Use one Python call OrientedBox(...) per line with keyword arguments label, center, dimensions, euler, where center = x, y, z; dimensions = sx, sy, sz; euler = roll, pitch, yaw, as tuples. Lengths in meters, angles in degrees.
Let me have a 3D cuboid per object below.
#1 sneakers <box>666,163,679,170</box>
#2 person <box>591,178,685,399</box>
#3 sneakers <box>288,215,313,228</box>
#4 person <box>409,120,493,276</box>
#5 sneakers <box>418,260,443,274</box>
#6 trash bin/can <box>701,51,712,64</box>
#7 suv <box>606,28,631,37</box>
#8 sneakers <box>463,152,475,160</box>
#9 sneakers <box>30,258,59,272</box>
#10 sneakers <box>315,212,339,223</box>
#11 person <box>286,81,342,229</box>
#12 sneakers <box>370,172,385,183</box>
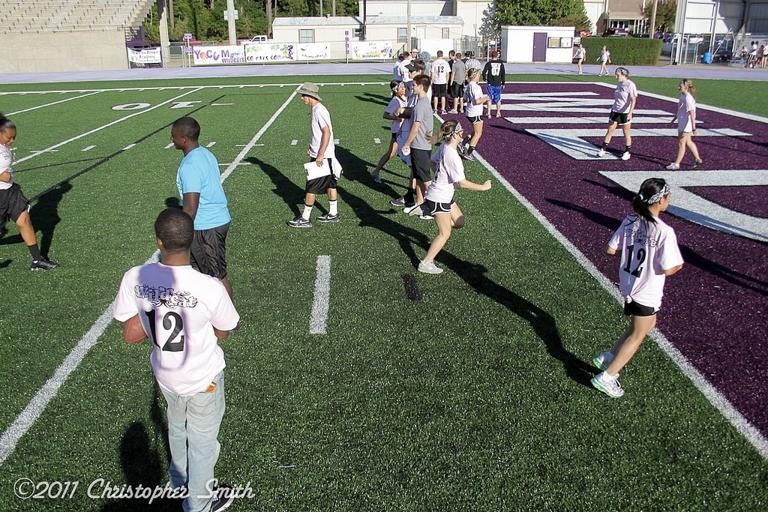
OrientedBox(label="sneakers", center=(7.084, -2.167, 12.672), dimensions=(0.357, 0.152, 0.155), euler=(0, 40, 12))
OrientedBox(label="person", center=(2.645, 0.362, 5.536), dimensions=(0.696, 2.262, 0.681), euler=(1, 21, 3))
OrientedBox(label="sneakers", center=(-1.520, -0.612, 9.469), dimensions=(0.466, 0.212, 0.178), euler=(2, 13, -4))
OrientedBox(label="person", center=(0.951, -0.843, 7.700), dimensions=(0.830, 2.176, 0.736), euler=(4, 22, 10))
OrientedBox(label="sneakers", center=(0.670, 0.171, 7.899), dimensions=(0.426, 0.201, 0.164), euler=(2, 16, -6))
OrientedBox(label="trash bin/can", center=(28.247, -17.279, 45.509), dimensions=(0.602, 0.977, 1.461), euler=(9, 24, 23))
OrientedBox(label="suv", center=(27.871, -26.563, 61.813), dimensions=(2.543, 0.830, 5.169), euler=(10, 24, 22))
OrientedBox(label="sneakers", center=(2.248, -2.633, 13.802), dimensions=(0.140, 0.172, 0.404), euler=(-14, 27, -43))
OrientedBox(label="sneakers", center=(-5.127, 0.143, 7.873), dimensions=(0.323, 0.140, 0.166), euler=(-6, 29, -19))
OrientedBox(label="sneakers", center=(-1.064, -0.710, 9.740), dimensions=(0.419, 0.163, 0.164), euler=(0, 18, -2))
OrientedBox(label="person", center=(-1.215, -1.767, 9.241), dimensions=(0.795, 2.466, 1.081), euler=(-3, 21, -7))
OrientedBox(label="sneakers", center=(-0.178, -1.789, 11.970), dimensions=(0.138, 0.154, 0.369), euler=(-7, 17, -26))
